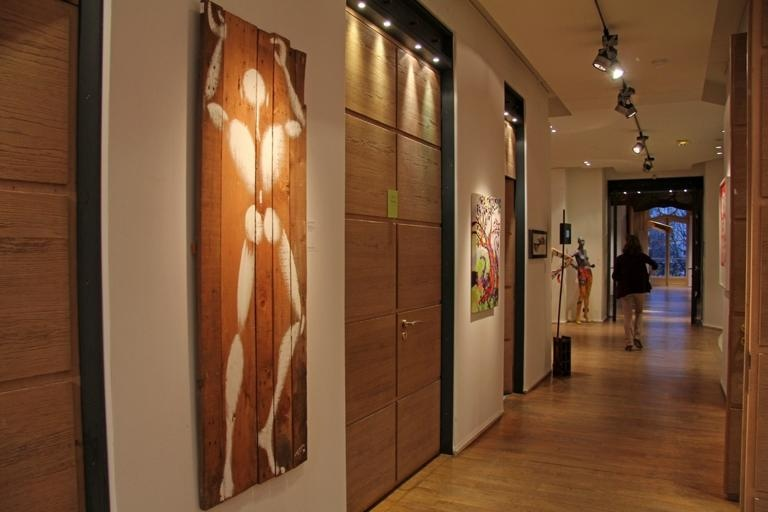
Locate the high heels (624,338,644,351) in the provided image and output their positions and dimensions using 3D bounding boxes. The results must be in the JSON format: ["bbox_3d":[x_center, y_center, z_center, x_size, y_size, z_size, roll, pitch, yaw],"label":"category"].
[{"bbox_3d":[4.257,1.516,9.339,0.153,0.208,0.467,-6,-15,26],"label":"high heels"}]

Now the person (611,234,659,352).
[{"bbox_3d":[4.292,0.621,9.396,0.647,1.924,0.765,1,3,26],"label":"person"}]

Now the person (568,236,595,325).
[{"bbox_3d":[4.425,0.563,12.242,0.421,1.900,1.062,0,3,22],"label":"person"}]
